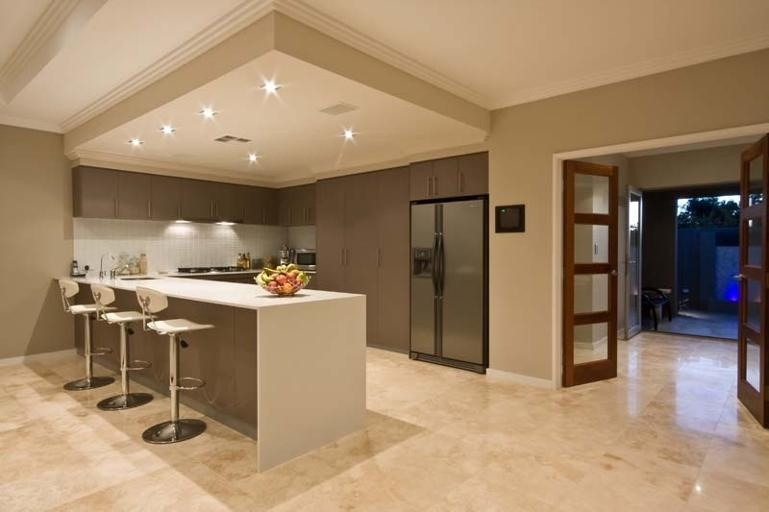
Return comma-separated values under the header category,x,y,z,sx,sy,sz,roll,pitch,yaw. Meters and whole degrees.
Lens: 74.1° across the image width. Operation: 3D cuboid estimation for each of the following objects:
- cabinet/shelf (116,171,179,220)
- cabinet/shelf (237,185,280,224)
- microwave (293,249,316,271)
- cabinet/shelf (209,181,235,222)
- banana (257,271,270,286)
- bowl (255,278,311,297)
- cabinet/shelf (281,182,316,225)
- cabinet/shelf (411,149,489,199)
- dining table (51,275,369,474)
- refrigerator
category,x,y,z,sx,sy,sz,roll,pitch,yaw
cabinet/shelf,-3.597,-0.917,7.785,0.876,0.778,0.322,-7,21,-42
cabinet/shelf,-2.290,-0.913,9.125,0.771,0.715,0.281,7,3,43
microwave,-1.356,0.050,8.781,0.514,0.393,0.316,-1,-4,41
cabinet/shelf,-2.674,-0.892,8.417,0.120,0.621,0.394,10,16,38
banana,-1.185,0.198,5.038,0.133,0.126,0.187,2,-15,-24
bowl,-0.997,0.274,5.008,0.492,0.224,0.261,-1,13,-6
cabinet/shelf,-1.459,-0.928,8.833,0.753,0.679,0.297,0,-1,43
cabinet/shelf,0.864,-1.049,6.864,1.045,0.536,0.352,-3,2,29
dining table,-1.669,0.900,5.524,3.036,1.412,1.177,11,17,39
refrigerator,0.897,0.325,6.707,1.212,2.259,0.425,9,16,34
